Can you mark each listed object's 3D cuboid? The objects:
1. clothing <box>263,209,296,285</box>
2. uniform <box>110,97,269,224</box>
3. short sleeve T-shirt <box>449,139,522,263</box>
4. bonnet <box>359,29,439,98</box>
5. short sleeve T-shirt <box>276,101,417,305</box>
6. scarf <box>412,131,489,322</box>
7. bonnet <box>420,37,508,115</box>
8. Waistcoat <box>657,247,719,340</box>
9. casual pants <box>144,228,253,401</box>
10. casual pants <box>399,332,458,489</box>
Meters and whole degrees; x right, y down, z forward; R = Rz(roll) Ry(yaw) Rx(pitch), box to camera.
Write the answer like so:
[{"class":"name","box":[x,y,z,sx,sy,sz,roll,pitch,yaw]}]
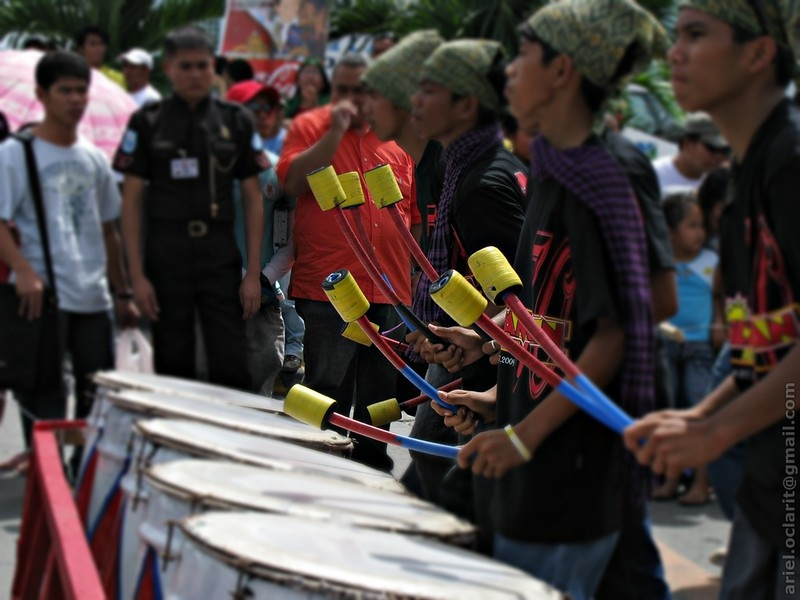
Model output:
[{"class":"clothing","box":[-0.565,-0.232,3.967,0.221,0.281,0.106,-1,2,-4]},{"class":"uniform","box":[-0.864,-0.574,3.600,0.589,0.474,0.266,0,2,-5]},{"class":"short sleeve T-shirt","box":[0.203,-0.242,2.006,0.142,0.285,0.304,-1,5,-6]},{"class":"bonnet","box":[-0.003,-0.584,2.137,0.163,0.121,0.115,-2,36,-11]},{"class":"short sleeve T-shirt","box":[-0.121,-0.450,3.672,0.464,0.515,0.257,-10,51,-9]},{"class":"scarf","box":[0.128,-0.196,2.181,0.136,0.385,0.292,4,17,22]},{"class":"bonnet","box":[0.142,-0.509,1.913,0.172,0.095,0.126,29,40,26]},{"class":"Waistcoat","box":[0.683,-0.005,1.981,0.177,0.231,0.075,-4,19,-16]},{"class":"casual pants","box":[-0.928,0.009,3.861,0.442,0.912,0.284,-2,33,-13]},{"class":"casual pants","box":[0.077,0.281,2.257,0.175,0.153,0.532,35,7,-5]}]
